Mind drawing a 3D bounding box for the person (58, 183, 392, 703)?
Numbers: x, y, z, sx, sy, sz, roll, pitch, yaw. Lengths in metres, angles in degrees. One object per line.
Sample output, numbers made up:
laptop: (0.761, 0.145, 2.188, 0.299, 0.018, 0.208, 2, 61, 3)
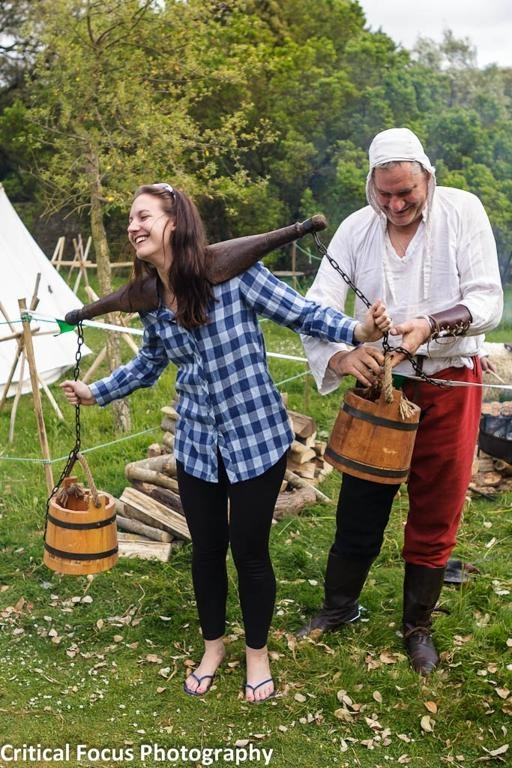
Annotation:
person: (-0.144, 0.322, 3.146, 1.183, 2.212, 0.526, 7, 9, 6)

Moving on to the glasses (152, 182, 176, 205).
glasses: (-0.350, -0.736, 2.905, 0.085, 0.076, 0.026, 15, 38, 30)
